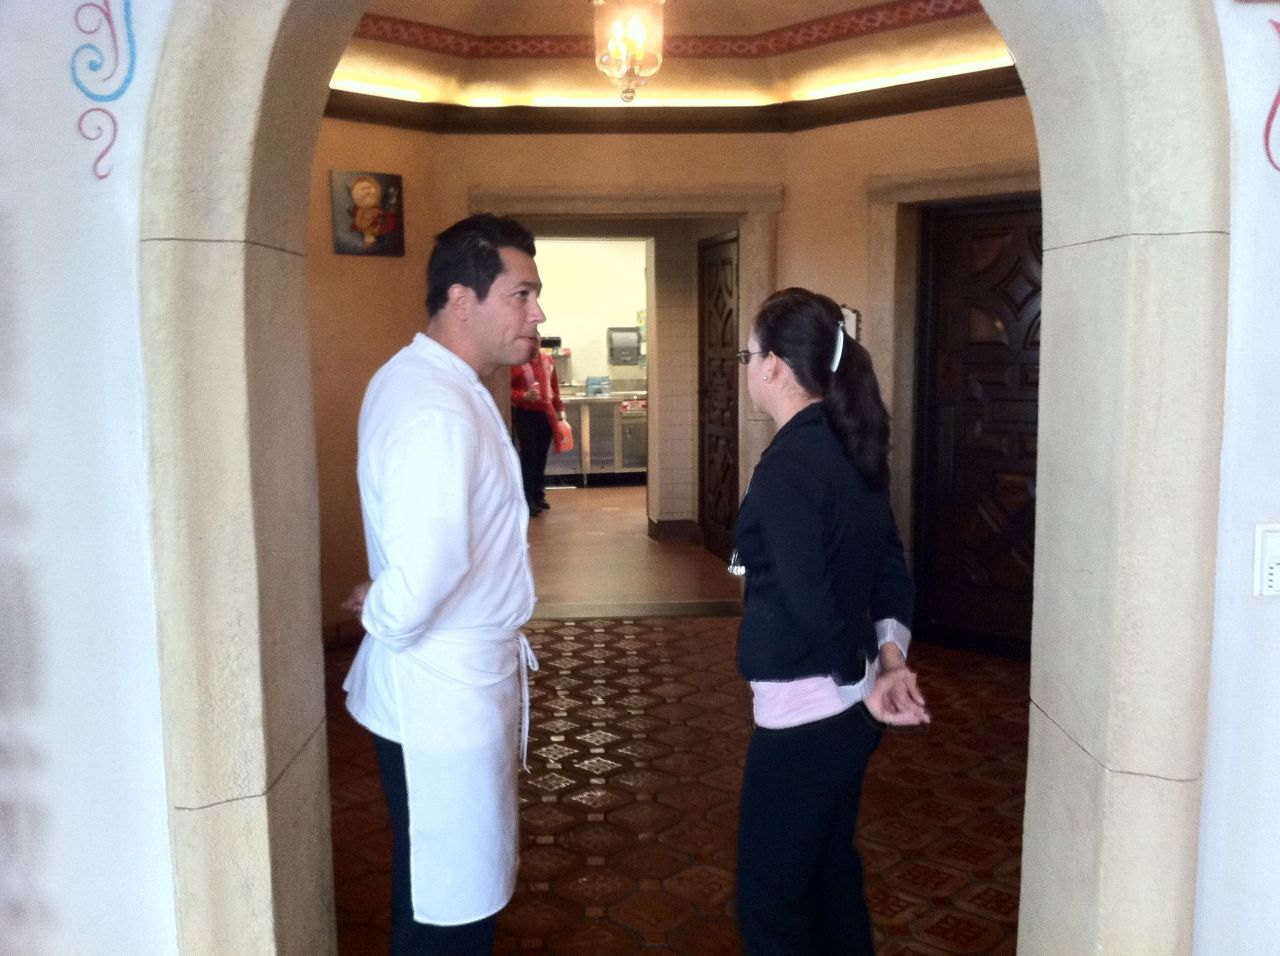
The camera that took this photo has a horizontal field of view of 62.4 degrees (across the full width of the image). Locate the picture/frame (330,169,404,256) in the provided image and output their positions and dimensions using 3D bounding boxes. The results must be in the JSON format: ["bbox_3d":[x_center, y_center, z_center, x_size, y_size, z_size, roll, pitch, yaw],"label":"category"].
[{"bbox_3d":[-1.729,-1.661,6.629,0.521,0.571,0.059,-4,7,-38],"label":"picture/frame"}]
